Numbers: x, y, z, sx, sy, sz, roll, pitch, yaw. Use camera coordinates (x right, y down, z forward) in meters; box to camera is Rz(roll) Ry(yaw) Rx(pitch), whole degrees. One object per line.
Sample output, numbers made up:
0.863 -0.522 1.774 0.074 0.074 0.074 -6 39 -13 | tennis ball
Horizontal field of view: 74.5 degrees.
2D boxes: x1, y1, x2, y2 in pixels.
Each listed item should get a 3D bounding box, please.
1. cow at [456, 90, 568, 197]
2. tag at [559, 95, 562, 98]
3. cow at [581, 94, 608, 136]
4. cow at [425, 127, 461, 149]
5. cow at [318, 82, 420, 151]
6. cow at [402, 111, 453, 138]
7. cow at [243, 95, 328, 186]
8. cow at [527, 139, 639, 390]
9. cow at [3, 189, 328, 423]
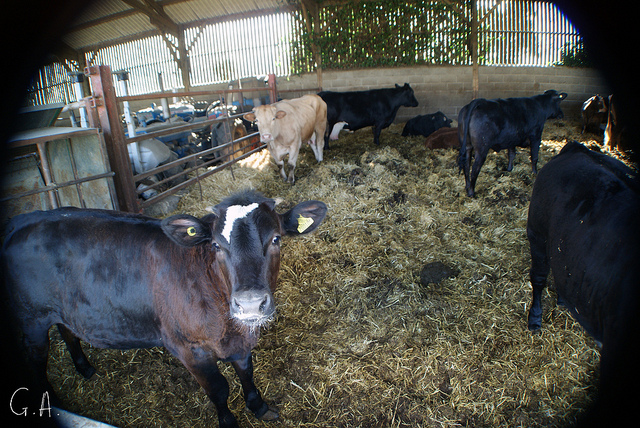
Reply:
3.473 -1.343 7.526 2.361 1.619 0.690 -11 18 -21 | cow
4.476 -2.185 7.785 0.054 0.060 0.014 0 2 1 | tag
6.437 -2.343 9.937 0.348 0.876 0.841 -4 17 7 | cow
2.518 -1.573 8.652 0.687 0.345 0.733 0 20 21 | cow
1.119 -2.410 10.027 2.524 1.272 1.438 -11 18 -11 | cow
2.592 -2.126 10.293 1.289 0.758 0.432 1 15 35 | cow
-0.503 -1.532 8.290 0.716 1.488 2.596 2 18 26 | cow
2.635 0.461 4.035 0.664 2.006 1.580 -6 17 0 | cow
-1.358 0.644 4.863 3.326 2.680 1.765 1 11 -2 | cow
